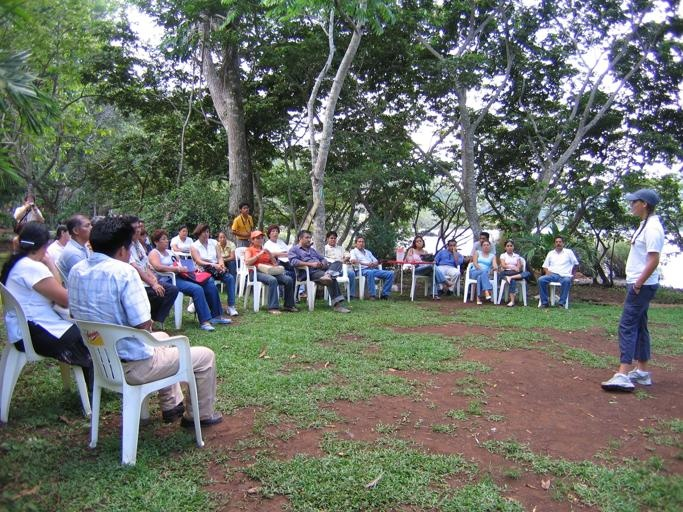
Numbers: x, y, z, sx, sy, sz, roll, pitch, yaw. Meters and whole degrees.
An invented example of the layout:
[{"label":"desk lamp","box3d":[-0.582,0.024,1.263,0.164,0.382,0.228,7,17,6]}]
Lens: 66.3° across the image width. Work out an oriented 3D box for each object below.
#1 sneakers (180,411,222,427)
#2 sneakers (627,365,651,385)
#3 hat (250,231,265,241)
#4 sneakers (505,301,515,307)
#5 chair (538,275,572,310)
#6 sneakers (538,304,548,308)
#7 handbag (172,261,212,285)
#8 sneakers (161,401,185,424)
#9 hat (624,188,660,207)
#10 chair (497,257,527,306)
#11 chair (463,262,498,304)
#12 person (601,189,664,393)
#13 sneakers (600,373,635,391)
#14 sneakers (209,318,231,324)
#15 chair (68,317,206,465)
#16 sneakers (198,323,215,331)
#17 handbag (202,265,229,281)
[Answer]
[{"label":"sneakers","box3d":[-1.335,1.516,4.942,0.383,0.181,0.139,-4,6,-20]},{"label":"sneakers","box3d":[3.441,1.384,6.041,0.298,0.142,0.131,5,10,38]},{"label":"hat","box3d":[-1.591,-0.351,9.635,0.142,0.099,0.193,1,-12,-39]},{"label":"sneakers","box3d":[3.544,1.015,10.898,0.096,0.099,0.230,-4,-10,37]},{"label":"chair","box3d":[4.462,0.716,10.793,0.556,0.736,0.617,6,14,42]},{"label":"sneakers","box3d":[4.158,1.047,10.710,0.220,0.107,0.077,-2,-2,31]},{"label":"handbag","box3d":[-2.280,0.294,7.870,0.382,0.150,0.395,8,3,28]},{"label":"sneakers","box3d":[-1.620,1.516,5.071,0.102,0.137,0.294,0,1,20]},{"label":"hat","box3d":[3.369,-0.642,5.803,0.337,0.187,0.234,11,7,29]},{"label":"chair","box3d":[3.701,0.478,11.374,0.587,1.031,0.624,-2,4,6]},{"label":"chair","box3d":[3.046,0.665,11.781,0.842,1.206,0.858,0,-10,7]},{"label":"person","box3d":[3.364,0.408,5.853,0.518,2.253,1.035,8,16,29]},{"label":"sneakers","box3d":[3.066,1.416,5.840,0.432,0.230,0.164,0,-4,4]},{"label":"sneakers","box3d":[-1.910,1.029,8.187,0.321,0.147,0.114,-1,4,3]},{"label":"chair","box3d":[-1.845,1.104,4.656,0.840,1.234,0.876,6,9,25]},{"label":"sneakers","box3d":[-1.994,1.062,7.689,0.238,0.094,0.093,-2,-4,38]},{"label":"handbag","box3d":[-2.148,0.303,8.933,0.293,0.131,0.302,9,0,33]}]
